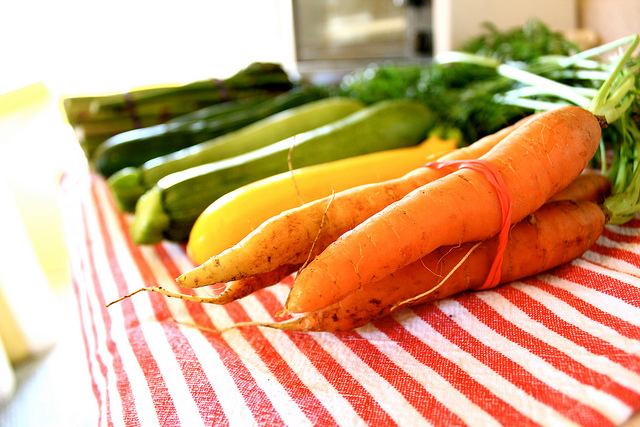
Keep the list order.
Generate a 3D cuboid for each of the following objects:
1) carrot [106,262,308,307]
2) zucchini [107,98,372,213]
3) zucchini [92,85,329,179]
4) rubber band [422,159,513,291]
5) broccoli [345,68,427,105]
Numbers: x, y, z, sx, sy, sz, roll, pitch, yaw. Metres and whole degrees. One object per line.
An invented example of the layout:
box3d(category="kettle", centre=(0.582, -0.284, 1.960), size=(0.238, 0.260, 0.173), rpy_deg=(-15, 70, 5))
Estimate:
box3d(category="carrot", centre=(-0.260, 0.173, 1.269), size=(0.375, 0.077, 0.066), rpy_deg=(-9, 15, -28))
box3d(category="zucchini", centre=(-0.234, -0.215, 1.885), size=(0.958, 0.235, 0.220), rpy_deg=(-24, 24, 0))
box3d(category="zucchini", centre=(-0.489, -0.362, 2.058), size=(0.181, 0.226, 0.982), rpy_deg=(27, 43, 28))
box3d(category="rubber band", centre=(0.327, 0.021, 1.274), size=(0.192, 0.267, 0.147), rpy_deg=(0, 15, -12))
box3d(category="broccoli", centre=(0.262, -0.502, 2.141), size=(0.292, 0.097, 0.146), rpy_deg=(-16, -15, 30))
